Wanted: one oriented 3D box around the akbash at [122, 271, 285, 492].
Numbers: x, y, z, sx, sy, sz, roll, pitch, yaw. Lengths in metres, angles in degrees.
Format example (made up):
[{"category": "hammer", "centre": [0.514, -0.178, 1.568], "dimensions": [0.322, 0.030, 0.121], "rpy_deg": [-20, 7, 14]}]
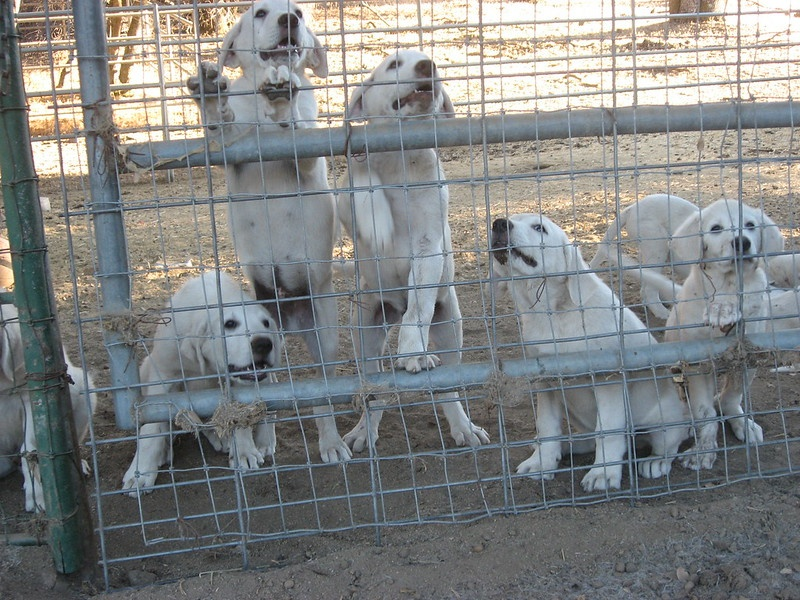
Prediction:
[{"category": "akbash", "centre": [-1.325, 0.461, 6.287], "dimensions": [0.977, 1.106, 1.959], "rpy_deg": [5, 7, -18]}]
